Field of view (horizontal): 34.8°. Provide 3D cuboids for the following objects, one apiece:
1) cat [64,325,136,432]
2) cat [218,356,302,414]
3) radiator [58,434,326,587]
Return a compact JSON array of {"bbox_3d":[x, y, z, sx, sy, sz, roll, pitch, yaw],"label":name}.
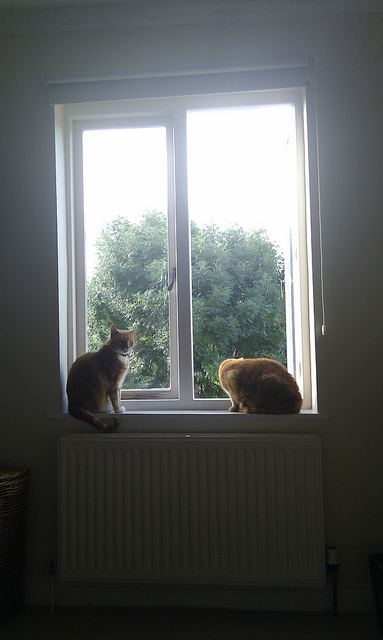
[{"bbox_3d":[-0.444,0.179,2.705,0.314,0.537,0.442,1,6,-17],"label":"cat"},{"bbox_3d":[0.270,0.280,2.570,0.385,0.255,0.253,5,-2,30],"label":"cat"},{"bbox_3d":[-0.016,0.737,2.396,1.057,0.595,0.100,1,3,6],"label":"radiator"}]
